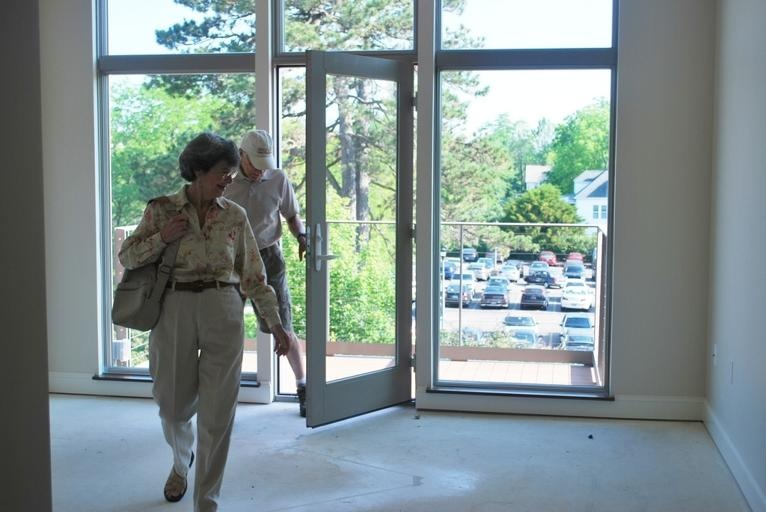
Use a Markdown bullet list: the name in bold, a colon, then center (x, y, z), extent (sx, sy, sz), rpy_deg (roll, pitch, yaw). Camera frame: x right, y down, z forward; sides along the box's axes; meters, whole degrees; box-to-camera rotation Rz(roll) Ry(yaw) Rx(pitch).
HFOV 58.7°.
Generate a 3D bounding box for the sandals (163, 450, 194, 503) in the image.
- **sandals**: center (-1.097, 1.160, 3.631), extent (0.095, 0.285, 0.075), rpy_deg (9, -31, 0)

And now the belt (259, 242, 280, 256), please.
- **belt**: center (-0.754, -0.047, 4.487), extent (0.092, 0.077, 0.098), rpy_deg (1, 1, 0)

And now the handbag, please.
- **handbag**: center (-1.127, 0.042, 3.267), extent (0.336, 0.615, 0.185), rpy_deg (12, 2, 34)

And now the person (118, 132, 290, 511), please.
- **person**: center (-0.877, 0.363, 3.340), extent (0.616, 1.896, 0.545), rpy_deg (9, 14, 43)

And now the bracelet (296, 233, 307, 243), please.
- **bracelet**: center (-0.544, -0.120, 4.550), extent (0.057, 0.030, 0.079), rpy_deg (2, 8, 0)
